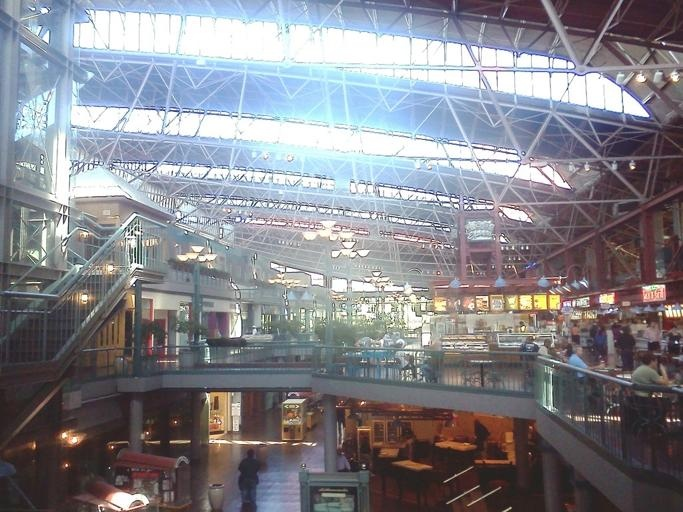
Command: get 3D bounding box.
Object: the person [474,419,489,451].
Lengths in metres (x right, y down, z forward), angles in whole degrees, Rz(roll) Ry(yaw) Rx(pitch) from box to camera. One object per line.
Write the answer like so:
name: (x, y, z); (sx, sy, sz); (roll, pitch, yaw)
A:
person: (6.038, 7.697, 28.162); (0.658, 1.057, 1.159); (-3, 10, 13)
